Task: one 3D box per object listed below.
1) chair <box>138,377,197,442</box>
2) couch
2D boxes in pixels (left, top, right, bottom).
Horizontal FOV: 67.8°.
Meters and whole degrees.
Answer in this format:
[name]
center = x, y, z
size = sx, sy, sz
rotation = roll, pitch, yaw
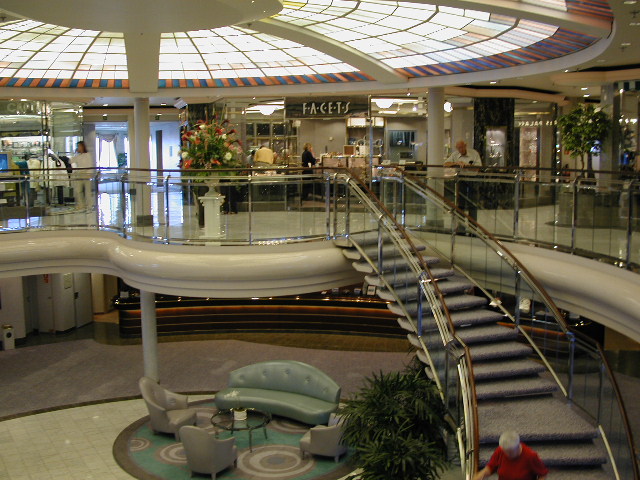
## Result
[chair]
center = -3.707, 4.014, 11.472
size = 1.377, 1.146, 1.034
rotation = 4, -2, 7
[couch]
center = -1.075, 3.842, 12.230
size = 3.496, 0.906, 1.339
rotation = -1, 6, 27
